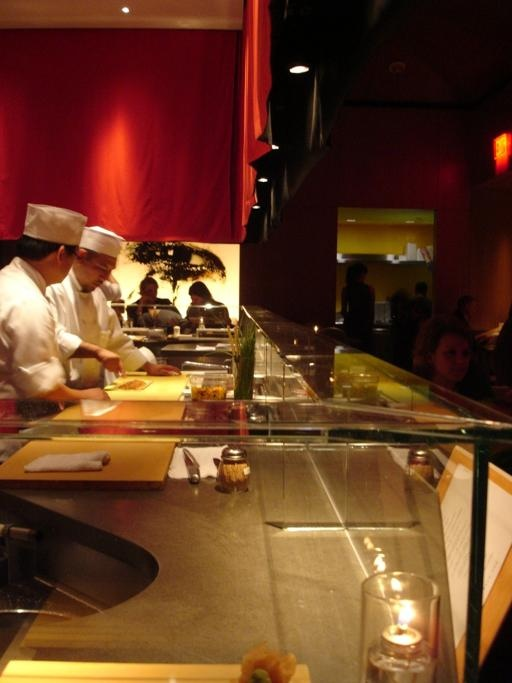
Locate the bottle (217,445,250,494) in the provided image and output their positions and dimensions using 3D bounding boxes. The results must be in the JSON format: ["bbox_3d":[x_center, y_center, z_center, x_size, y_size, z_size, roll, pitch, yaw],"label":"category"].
[{"bbox_3d":[-0.045,0.246,1.020,0.071,0.109,0.076,1,-4,0],"label":"bottle"}]

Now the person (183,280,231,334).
[{"bbox_3d":[-0.407,-0.328,4.455,0.355,0.383,0.939,-3,7,-4],"label":"person"}]

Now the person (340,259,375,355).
[{"bbox_3d":[0.928,-0.306,4.826,0.279,0.806,0.083,-2,7,9],"label":"person"}]

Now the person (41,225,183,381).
[{"bbox_3d":[-0.625,-0.153,2.944,0.650,1.063,0.825,0,5,6],"label":"person"}]

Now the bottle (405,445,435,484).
[{"bbox_3d":[0.194,0.144,0.630,0.034,0.051,0.035,-1,3,0],"label":"bottle"}]

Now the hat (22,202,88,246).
[{"bbox_3d":[-0.843,-0.492,2.195,0.230,0.150,0.191,12,11,-19],"label":"hat"}]

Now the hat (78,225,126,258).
[{"bbox_3d":[-0.805,-0.523,2.747,0.173,0.111,0.180,21,6,17],"label":"hat"}]
